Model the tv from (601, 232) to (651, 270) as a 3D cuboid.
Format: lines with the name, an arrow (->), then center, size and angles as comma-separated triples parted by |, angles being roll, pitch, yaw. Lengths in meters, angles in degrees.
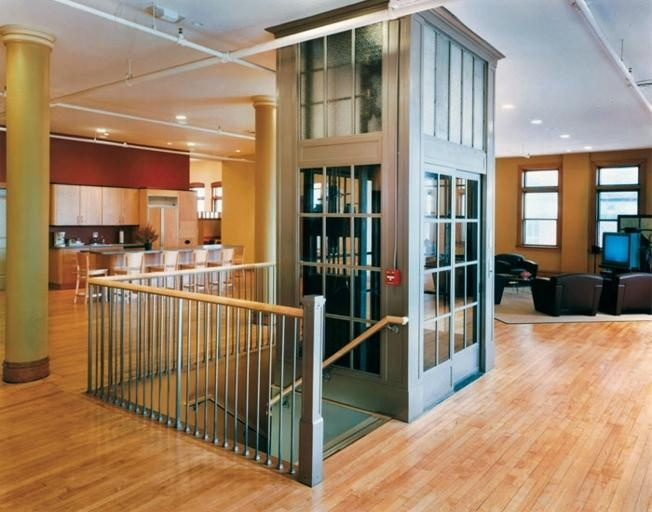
tv -> 6.814, -0.195, 11.550 | 0.717, 1.138, 1.238 | 0, -2, -13
